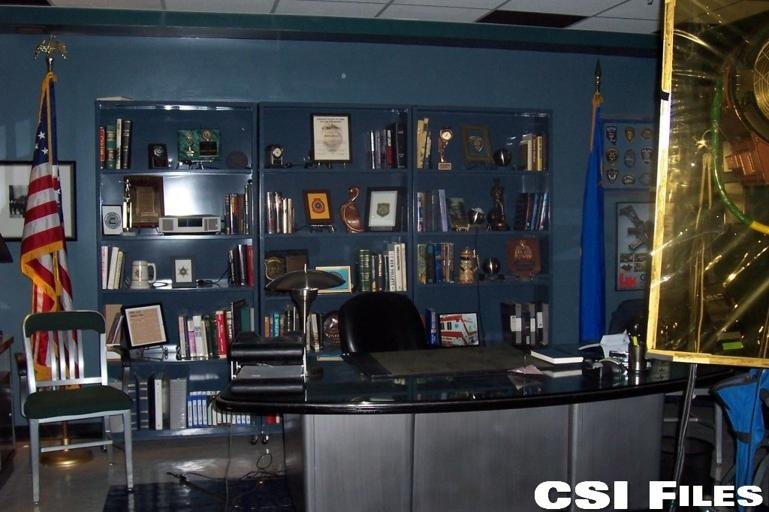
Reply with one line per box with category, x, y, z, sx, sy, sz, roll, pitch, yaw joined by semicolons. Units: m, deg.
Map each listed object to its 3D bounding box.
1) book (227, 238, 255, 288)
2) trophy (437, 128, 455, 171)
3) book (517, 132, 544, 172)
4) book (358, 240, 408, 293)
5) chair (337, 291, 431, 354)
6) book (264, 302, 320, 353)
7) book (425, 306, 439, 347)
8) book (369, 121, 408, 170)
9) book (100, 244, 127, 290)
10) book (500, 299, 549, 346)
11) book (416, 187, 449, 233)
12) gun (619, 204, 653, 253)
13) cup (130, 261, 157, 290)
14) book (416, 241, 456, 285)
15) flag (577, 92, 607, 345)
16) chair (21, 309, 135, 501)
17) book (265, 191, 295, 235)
book;-1.064;0.094;5.631;0.275;0.418;0.466;-1;-4;-8
trophy;0.485;-0.861;5.853;0.129;0.322;0.342;0;13;6
book;1.186;-0.834;5.901;0.331;0.359;0.212;2;10;8
book;-0.069;0.044;5.917;0.366;0.467;0.483;-1;2;-19
chair;-0.056;0.457;4.952;0.435;0.522;0.467;0;-9;-20
book;-0.708;0.550;5.620;0.422;0.316;0.216;-1;13;-1
book;0.366;0.568;5.743;0.122;0.342;0.246;-3;9;-7
book;-0.005;-0.854;5.899;0.338;0.430;0.463;-2;7;-10
book;-2.038;0.076;5.478;0.149;0.318;0.237;-4;13;-10
book;1.135;0.542;5.928;0.297;0.327;0.323;-7;14;-22
book;0.330;-0.358;5.966;0.308;0.383;0.403;-2;3;-12
gun;2.212;-0.248;6.467;0.279;0.428;0.118;-5;14;-16
cup;-1.819;0.144;5.543;0.233;0.229;0.166;3;-2;-36
book;0.400;0.064;5.799;0.314;0.383;0.406;-1;3;2
flag;1.715;-0.317;5.942;0.201;1.950;0.557;2;14;15
chair;-2.130;0.941;5.054;0.657;1.144;1.144;-6;14;-21
book;-0.813;-0.324;5.562;0.300;0.348;0.264;0;5;5
